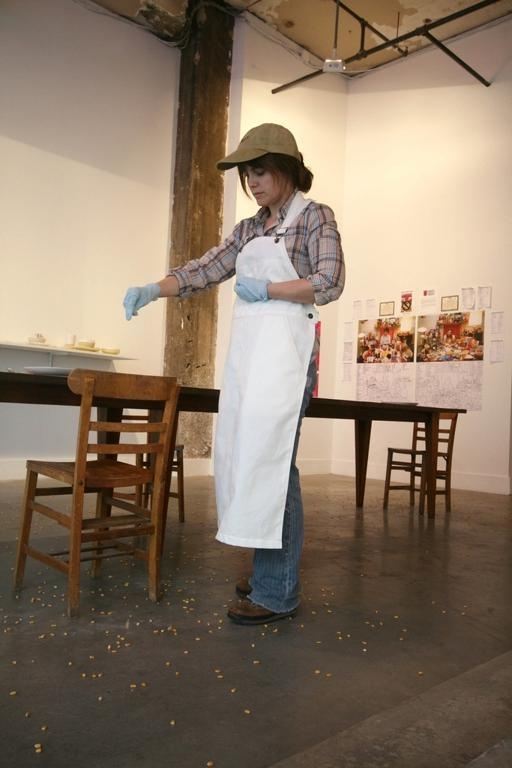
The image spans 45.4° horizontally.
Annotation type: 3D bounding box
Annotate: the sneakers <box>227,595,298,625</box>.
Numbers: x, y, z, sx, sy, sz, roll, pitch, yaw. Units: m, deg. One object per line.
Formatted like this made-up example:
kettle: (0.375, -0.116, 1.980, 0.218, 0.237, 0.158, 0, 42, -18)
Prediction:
sneakers: (0.012, 0.696, 1.880, 0.184, 0.071, 0.071, 12, -13, -31)

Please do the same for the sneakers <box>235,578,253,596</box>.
sneakers: (-0.043, 0.705, 2.100, 0.041, 0.076, 0.111, 2, -16, 3)

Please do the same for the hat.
hat: (0.014, -0.726, 1.867, 0.256, 0.127, 0.172, -5, 9, -22)

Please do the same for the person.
person: (-0.013, -0.028, 1.977, 0.416, 1.534, 0.585, 3, 4, -13)

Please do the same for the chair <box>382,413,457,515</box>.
chair: (1.269, 0.595, 4.774, 0.581, 0.745, 0.566, 2, -4, 0)
